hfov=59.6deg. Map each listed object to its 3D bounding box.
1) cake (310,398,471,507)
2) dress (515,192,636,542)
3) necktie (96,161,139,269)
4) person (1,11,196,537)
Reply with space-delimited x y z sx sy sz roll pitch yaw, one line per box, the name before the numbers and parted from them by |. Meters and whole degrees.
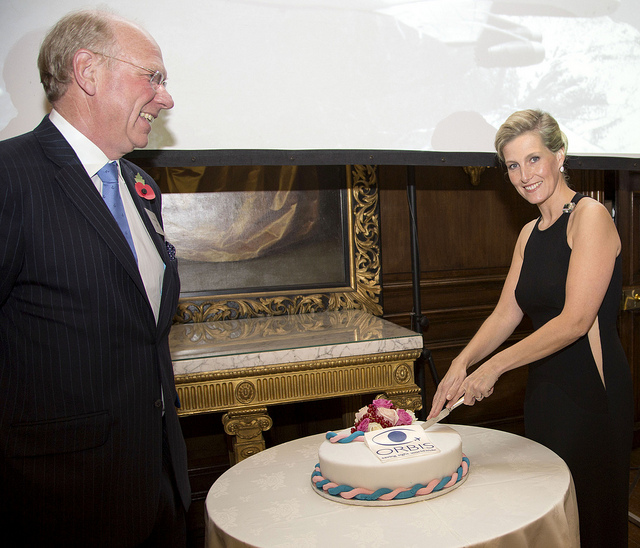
cake | 0.228 0.572 1.884 0.502 0.255 0.544 -7 -4 26
dress | 1.045 0.343 2.249 0.396 1.291 0.577 -1 13 -1
necktie | -0.702 -0.226 1.890 0.170 0.045 0.546 -41 -7 -29
person | -0.697 0.065 1.751 0.525 1.707 0.617 -4 14 -15
